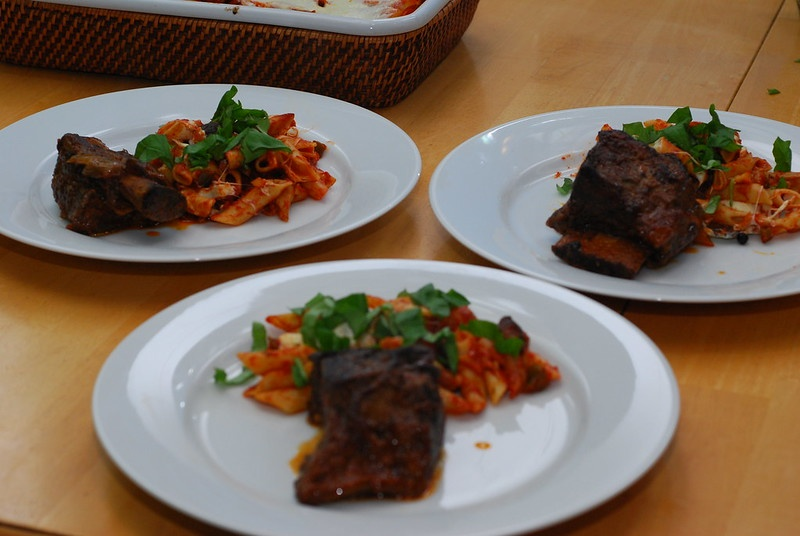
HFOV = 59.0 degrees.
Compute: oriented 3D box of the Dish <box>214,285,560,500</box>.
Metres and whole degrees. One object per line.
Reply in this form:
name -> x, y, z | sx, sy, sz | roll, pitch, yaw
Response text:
Dish -> 0.004, 0.295, 1.260 | 0.478, 0.081, 0.408 | 32, 48, -36
